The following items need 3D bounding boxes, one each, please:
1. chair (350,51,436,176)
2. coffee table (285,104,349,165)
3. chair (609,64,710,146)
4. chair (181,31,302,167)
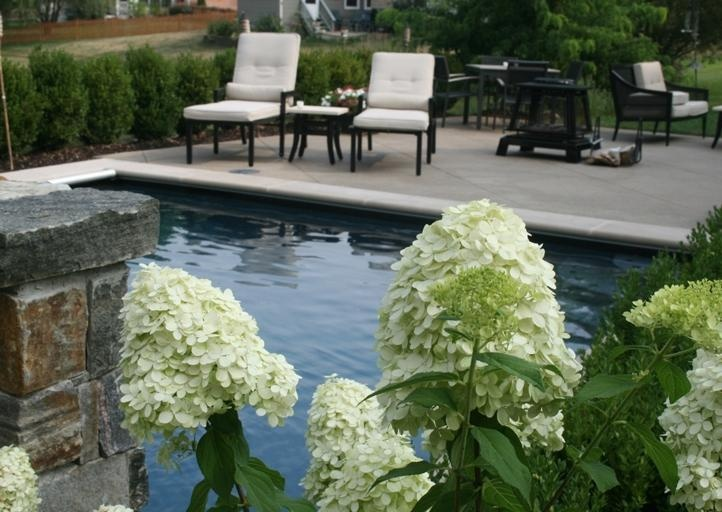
[{"bbox_3d":[0.461,-1.789,7.997,0.949,1.461,1.677,4,27,9],"label":"chair"},{"bbox_3d":[-0.592,-1.523,8.296,0.921,0.665,0.940,16,18,39],"label":"coffee table"},{"bbox_3d":[4.821,-2.541,10.770,1.375,1.273,2.296,13,19,37],"label":"chair"},{"bbox_3d":[-1.446,-2.020,8.211,1.087,1.612,1.608,4,17,9],"label":"chair"}]
